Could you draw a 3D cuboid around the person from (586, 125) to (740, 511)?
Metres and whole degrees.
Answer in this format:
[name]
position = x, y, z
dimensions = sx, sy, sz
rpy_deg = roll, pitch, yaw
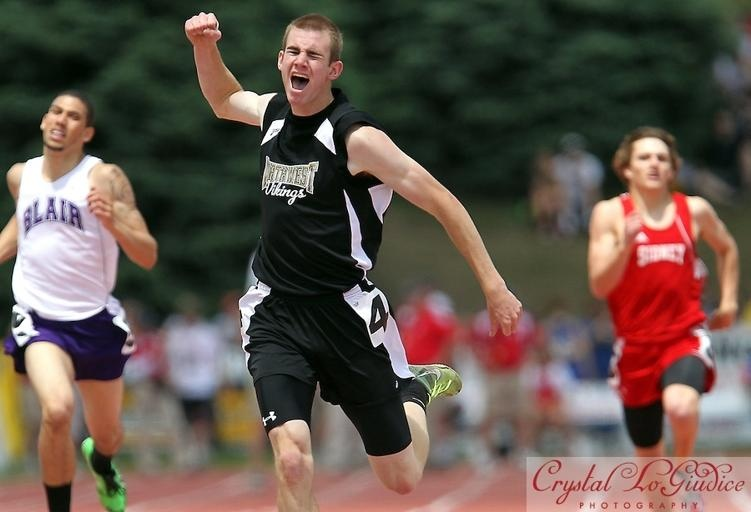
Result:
[person]
position = 2.584, 0.303, 8.778
dimensions = 1.376, 3.052, 0.847
rpy_deg = -4, -2, -28

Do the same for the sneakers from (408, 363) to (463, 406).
[sneakers]
position = 0.543, 1.101, 8.650
dimensions = 0.288, 0.219, 0.672
rpy_deg = -2, -7, 22
